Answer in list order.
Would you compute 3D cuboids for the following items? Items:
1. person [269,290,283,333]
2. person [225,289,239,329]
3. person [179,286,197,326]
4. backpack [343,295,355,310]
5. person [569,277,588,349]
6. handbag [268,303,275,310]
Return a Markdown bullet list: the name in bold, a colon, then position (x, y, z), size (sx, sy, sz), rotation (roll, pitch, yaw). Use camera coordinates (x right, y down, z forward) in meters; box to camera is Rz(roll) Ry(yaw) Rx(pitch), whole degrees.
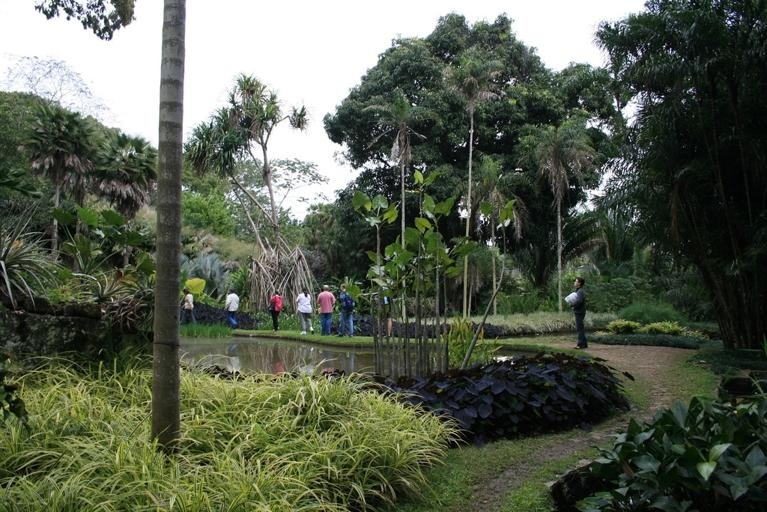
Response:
- **person**: position (-3.624, 1.842, 19.843), size (0.342, 1.356, 2.183), rotation (2, -9, -10)
- **person**: position (-5.084, 1.830, 19.942), size (0.393, 1.213, 1.573), rotation (2, -8, -14)
- **person**: position (-6.078, 1.550, 18.447), size (0.397, 1.183, 2.124), rotation (3, -9, -17)
- **backpack**: position (-1.008, 1.305, 16.747), size (0.363, 0.429, 0.223), rotation (6, -9, -32)
- **person**: position (4.761, 1.387, 14.370), size (0.360, 1.721, 2.200), rotation (-2, -9, 19)
- **handbag**: position (-3.592, 1.641, 19.109), size (0.116, 0.227, 0.492), rotation (4, -9, -24)
